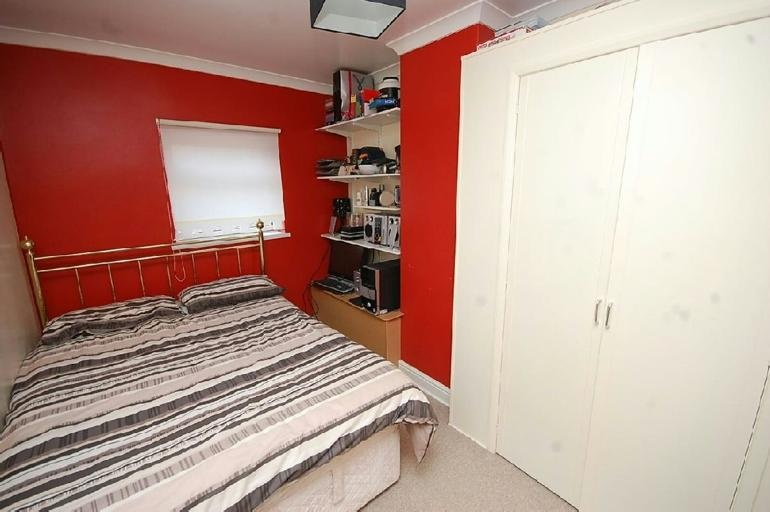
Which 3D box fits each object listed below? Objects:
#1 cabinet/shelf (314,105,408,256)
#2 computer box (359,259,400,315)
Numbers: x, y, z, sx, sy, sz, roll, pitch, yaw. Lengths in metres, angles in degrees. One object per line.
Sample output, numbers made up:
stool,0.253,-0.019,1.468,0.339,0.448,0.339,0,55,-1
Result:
cabinet/shelf,-0.227,-0.755,4.780,0.402,1.185,1.373,-6,11,-36
computer box,-0.011,0.269,4.494,0.433,0.431,0.254,-13,20,-37
